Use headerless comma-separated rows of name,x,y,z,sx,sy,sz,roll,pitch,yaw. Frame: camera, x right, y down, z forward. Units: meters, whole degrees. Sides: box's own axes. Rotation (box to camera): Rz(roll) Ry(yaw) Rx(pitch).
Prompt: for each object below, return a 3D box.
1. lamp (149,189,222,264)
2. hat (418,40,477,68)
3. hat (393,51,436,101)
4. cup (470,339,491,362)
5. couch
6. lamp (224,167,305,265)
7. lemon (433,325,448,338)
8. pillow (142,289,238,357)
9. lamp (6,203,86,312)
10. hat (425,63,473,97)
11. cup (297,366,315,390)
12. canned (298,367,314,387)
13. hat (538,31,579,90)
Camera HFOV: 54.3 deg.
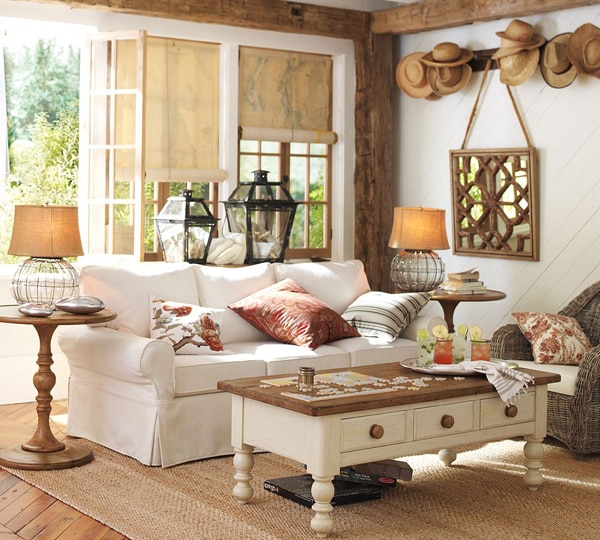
lamp,-0.826,-0.314,4.331,0.552,0.431,0.449,1,3,0
hat,1.319,-1.897,5.215,0.338,0.098,0.330,-6,14,-15
hat,1.059,-1.834,5.573,0.478,0.397,0.121,3,7,33
cup,0.814,0.376,2.744,0.112,0.090,0.093,0,3,-10
couch,-0.225,0.474,3.788,2.183,0.869,0.954,-1,7,-40
lamp,-0.289,-0.428,4.633,0.699,0.598,0.698,9,12,33
lemon,0.635,0.281,2.686,0.063,0.061,0.092,2,0,20
pillow,-0.632,0.317,3.294,0.400,0.292,0.200,2,0,-12
lamp,-1.326,-0.071,3.111,0.357,0.494,0.442,2,0,-4
hat,1.330,-1.758,5.350,0.165,0.297,0.387,2,0,-34
cup,0.025,0.433,2.339,0.089,0.071,0.081,3,-1,0
canned,0.010,0.428,2.349,0.080,0.062,0.073,4,2,22
hat,1.975,-1.620,4.580,0.143,0.351,0.337,3,14,-42
